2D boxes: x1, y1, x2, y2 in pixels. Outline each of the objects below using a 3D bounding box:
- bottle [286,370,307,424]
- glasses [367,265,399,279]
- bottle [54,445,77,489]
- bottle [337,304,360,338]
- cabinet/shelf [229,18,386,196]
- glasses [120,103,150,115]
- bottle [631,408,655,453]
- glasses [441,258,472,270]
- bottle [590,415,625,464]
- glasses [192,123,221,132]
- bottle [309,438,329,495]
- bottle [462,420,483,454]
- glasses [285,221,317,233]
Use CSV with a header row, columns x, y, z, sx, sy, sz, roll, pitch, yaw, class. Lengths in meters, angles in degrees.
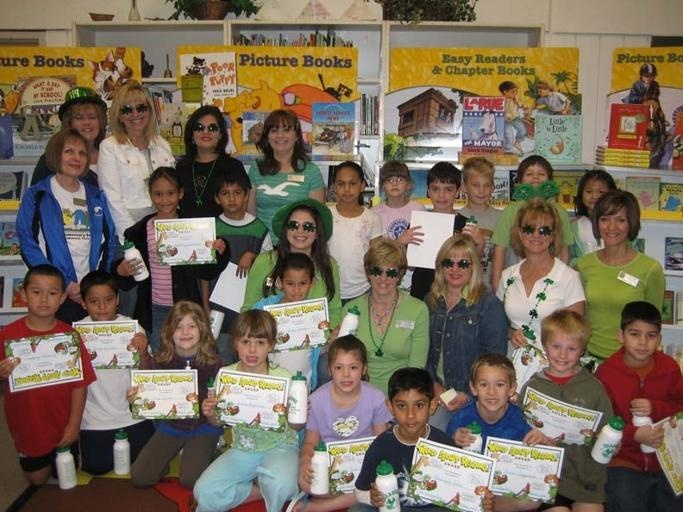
x,y,z,sx,sy,sz,roll,pitch,yaw,class
-0.295,0.975,4.574,0.136,0.407,0.170,1,12,-2,bottle
0.325,0.117,5.030,0.233,0.092,0.075,2,12,5,glasses
-1.992,1.530,4.846,0.134,0.314,0.129,1,12,0,bottle
0.062,0.484,4.961,0.139,0.208,0.137,1,12,0,bottle
-0.382,-1.538,6.886,2.339,2.078,0.746,-1,5,-1,cabinet/shelf
-1.691,-1.212,5.489,0.227,0.089,0.049,-3,13,-19,glasses
2.074,1.231,4.586,0.157,0.286,0.167,1,12,0,bottle
0.875,0.057,5.075,0.221,0.080,0.044,3,12,8,glasses
1.750,1.216,4.372,0.197,0.354,0.086,-1,12,-7,bottle
-1.126,-1.087,5.616,0.213,0.067,0.066,-3,13,-16,glasses
-0.138,1.429,4.432,0.123,0.401,0.100,-2,13,-12,bottle
0.854,1.201,4.288,0.103,0.236,0.257,4,12,13,bottle
-0.308,-0.229,5.211,0.224,0.085,0.050,0,12,-4,glasses
